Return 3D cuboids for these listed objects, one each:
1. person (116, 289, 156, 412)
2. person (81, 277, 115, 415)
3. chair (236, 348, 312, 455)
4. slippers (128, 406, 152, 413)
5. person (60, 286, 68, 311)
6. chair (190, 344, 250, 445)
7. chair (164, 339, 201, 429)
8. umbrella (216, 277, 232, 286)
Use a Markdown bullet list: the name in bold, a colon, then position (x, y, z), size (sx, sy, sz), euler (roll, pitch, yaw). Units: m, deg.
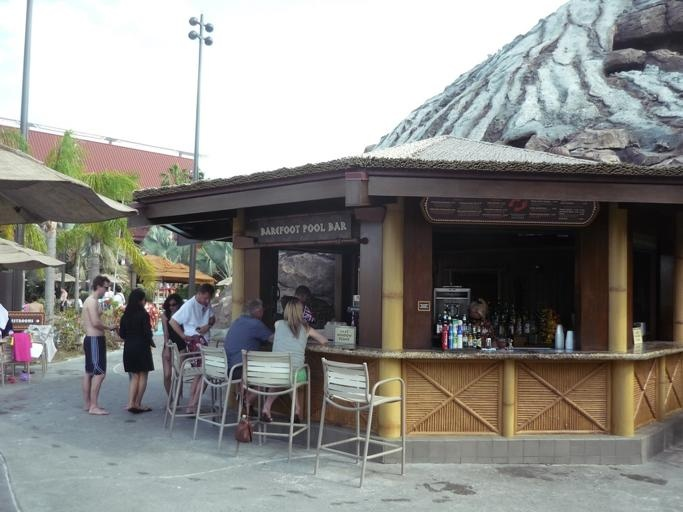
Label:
- **person**: position (-3.437, 1.562, 11.006), size (0.569, 2.061, 0.586), euler (1, 2, -19)
- **person**: position (-4.028, 1.445, 10.850), size (0.429, 2.283, 0.846), euler (1, 2, -22)
- **chair**: position (-0.924, 1.994, 9.084), size (1.000, 1.431, 1.028), euler (2, 1, 38)
- **slippers**: position (-3.345, 2.559, 10.945), size (0.123, 0.089, 0.343), euler (2, -1, 19)
- **person**: position (-11.551, 1.710, 27.387), size (0.277, 0.832, 2.142), euler (1, 2, -24)
- **chair**: position (-1.691, 1.962, 9.506), size (0.768, 1.296, 0.803), euler (0, -5, 29)
- **chair**: position (-2.401, 2.022, 10.448), size (0.855, 1.304, 0.833), euler (2, -5, -7)
- **umbrella**: position (-5.691, 1.189, 31.869), size (0.680, 0.302, 0.658), euler (-1, 0, -35)
